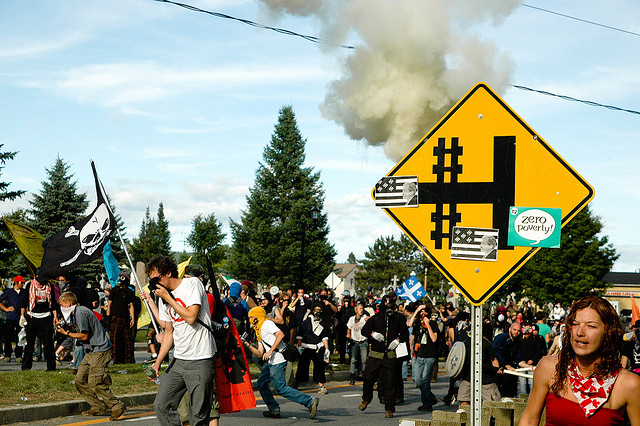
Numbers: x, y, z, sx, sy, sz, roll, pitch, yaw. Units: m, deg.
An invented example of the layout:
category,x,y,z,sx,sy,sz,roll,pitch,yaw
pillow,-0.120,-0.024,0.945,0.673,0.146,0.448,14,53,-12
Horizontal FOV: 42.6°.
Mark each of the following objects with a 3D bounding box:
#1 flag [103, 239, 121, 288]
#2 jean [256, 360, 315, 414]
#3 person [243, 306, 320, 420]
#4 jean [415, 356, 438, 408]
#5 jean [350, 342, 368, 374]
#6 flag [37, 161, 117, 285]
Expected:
category,x,y,z,sx,sy,sz,roll,pitch,yaw
flag,-7.247,1.716,28.068,0.349,0.603,2.952,-31,-18,-18
jean,-0.676,3.332,15.846,1.311,1.235,0.556,-2,-6,28
person,-0.811,2.902,15.788,1.433,2.092,0.676,8,1,-6
jean,2.333,3.714,18.079,0.499,1.096,0.941,8,0,3
jean,1.001,3.729,21.237,0.317,0.843,0.917,8,0,-17
flag,-5.758,0.348,19.402,1.840,2.749,0.543,8,1,18
